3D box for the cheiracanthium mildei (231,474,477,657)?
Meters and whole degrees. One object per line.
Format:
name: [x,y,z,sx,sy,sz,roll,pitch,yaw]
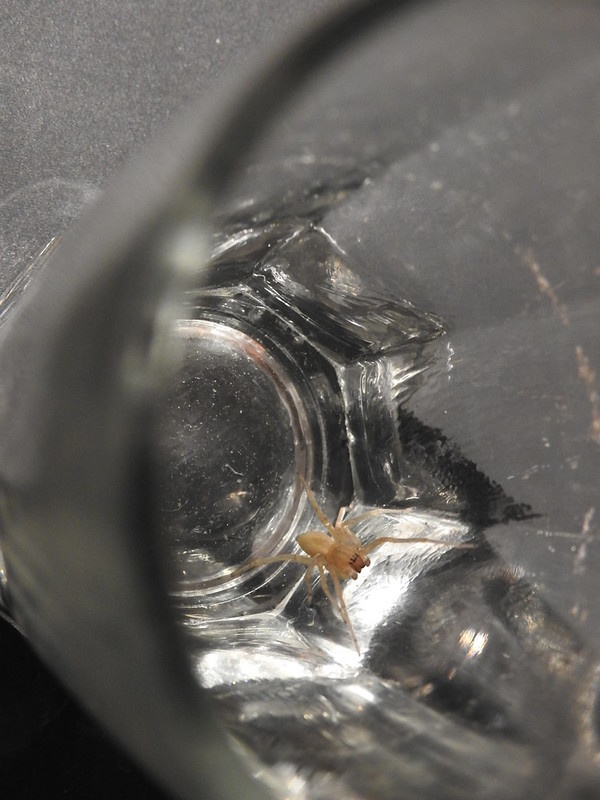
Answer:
cheiracanthium mildei: [0.028,0.148,0.882,0.178,0.042,0.114,20,36,-3]
